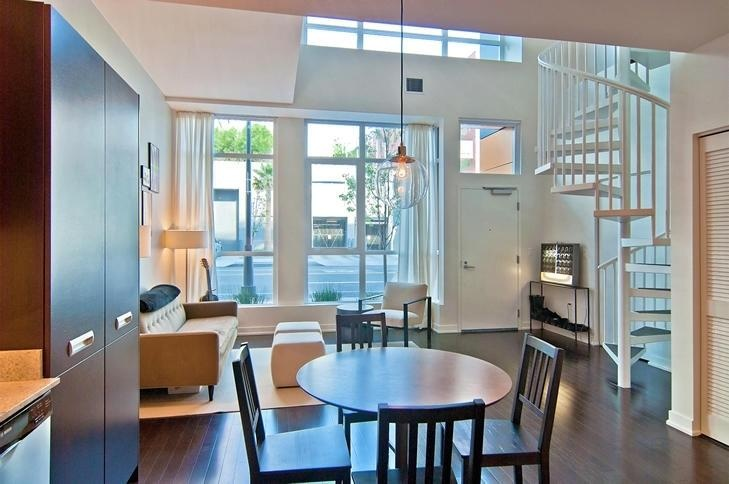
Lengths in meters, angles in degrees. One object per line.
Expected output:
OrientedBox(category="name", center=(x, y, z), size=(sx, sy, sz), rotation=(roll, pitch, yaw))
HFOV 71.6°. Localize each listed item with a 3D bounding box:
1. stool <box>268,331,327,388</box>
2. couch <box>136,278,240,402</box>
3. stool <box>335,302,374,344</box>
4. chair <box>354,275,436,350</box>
OrientedBox(category="stool", center=(-0.773, 1.315, 5.838), size=(0.560, 0.579, 0.491), rotation=(0, -3, -3))
OrientedBox(category="couch", center=(-1.944, 0.701, 5.692), size=(0.954, 0.981, 1.869), rotation=(0, 2, -12))
OrientedBox(category="stool", center=(-0.135, 0.953, 6.531), size=(0.538, 0.597, 0.635), rotation=(0, 3, -6))
OrientedBox(category="chair", center=(0.558, 0.957, 7.315), size=(1.005, 1.210, 0.838), rotation=(-3, -3, 40))
